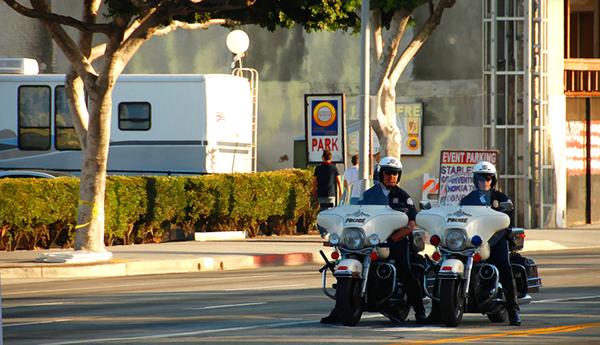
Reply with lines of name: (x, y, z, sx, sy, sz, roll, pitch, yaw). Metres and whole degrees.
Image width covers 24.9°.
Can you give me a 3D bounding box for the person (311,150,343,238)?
person: (1.056, 0.829, 51.787, 1.191, 3.314, 0.907, 0, 5, 2)
